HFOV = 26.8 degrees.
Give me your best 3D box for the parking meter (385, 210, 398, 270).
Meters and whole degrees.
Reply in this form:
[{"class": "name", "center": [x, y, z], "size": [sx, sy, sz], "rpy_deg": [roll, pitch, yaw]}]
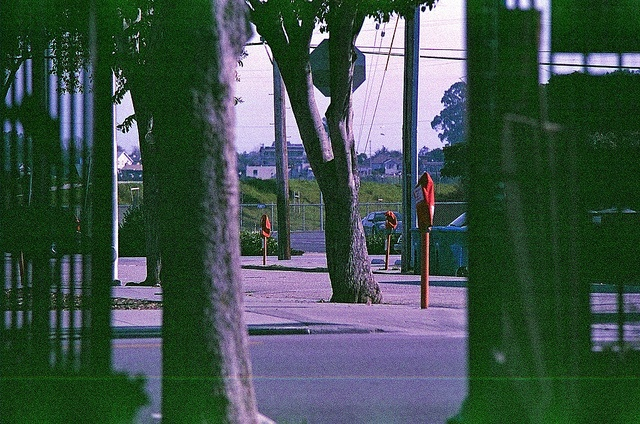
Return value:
[{"class": "parking meter", "center": [1.504, 0.699, 30.785], "size": [0.322, 1.402, 0.345], "rpy_deg": [-2, -21, 18]}]
